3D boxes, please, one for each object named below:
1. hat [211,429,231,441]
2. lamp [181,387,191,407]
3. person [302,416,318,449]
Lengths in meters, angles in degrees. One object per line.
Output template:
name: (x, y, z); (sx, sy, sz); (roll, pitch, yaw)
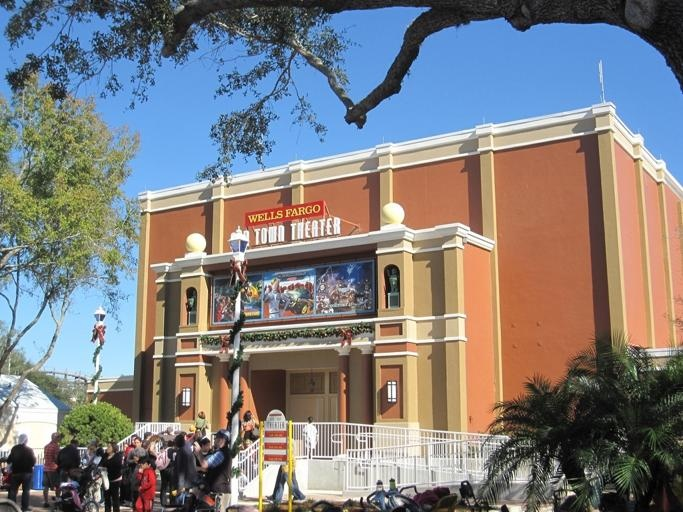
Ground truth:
hat: (-2.568, 3.812, 15.554); (0.405, 0.232, 0.305); (7, -11, 29)
lamp: (-6.609, 6.000, 30.939); (0.555, 0.802, 0.251); (-14, -23, 39)
person: (-1.058, 6.057, 24.562); (0.481, 0.935, 1.135); (2, -19, -3)
